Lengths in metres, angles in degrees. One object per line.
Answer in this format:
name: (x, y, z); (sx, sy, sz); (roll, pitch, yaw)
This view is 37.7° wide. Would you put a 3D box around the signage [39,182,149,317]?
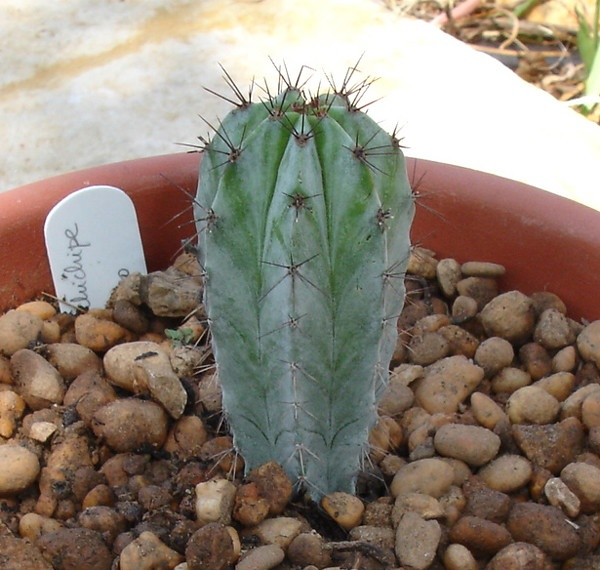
signage: (-0.720, -0.123, 3.063); (0.141, 0.418, 0.353); (27, 46, 29)
